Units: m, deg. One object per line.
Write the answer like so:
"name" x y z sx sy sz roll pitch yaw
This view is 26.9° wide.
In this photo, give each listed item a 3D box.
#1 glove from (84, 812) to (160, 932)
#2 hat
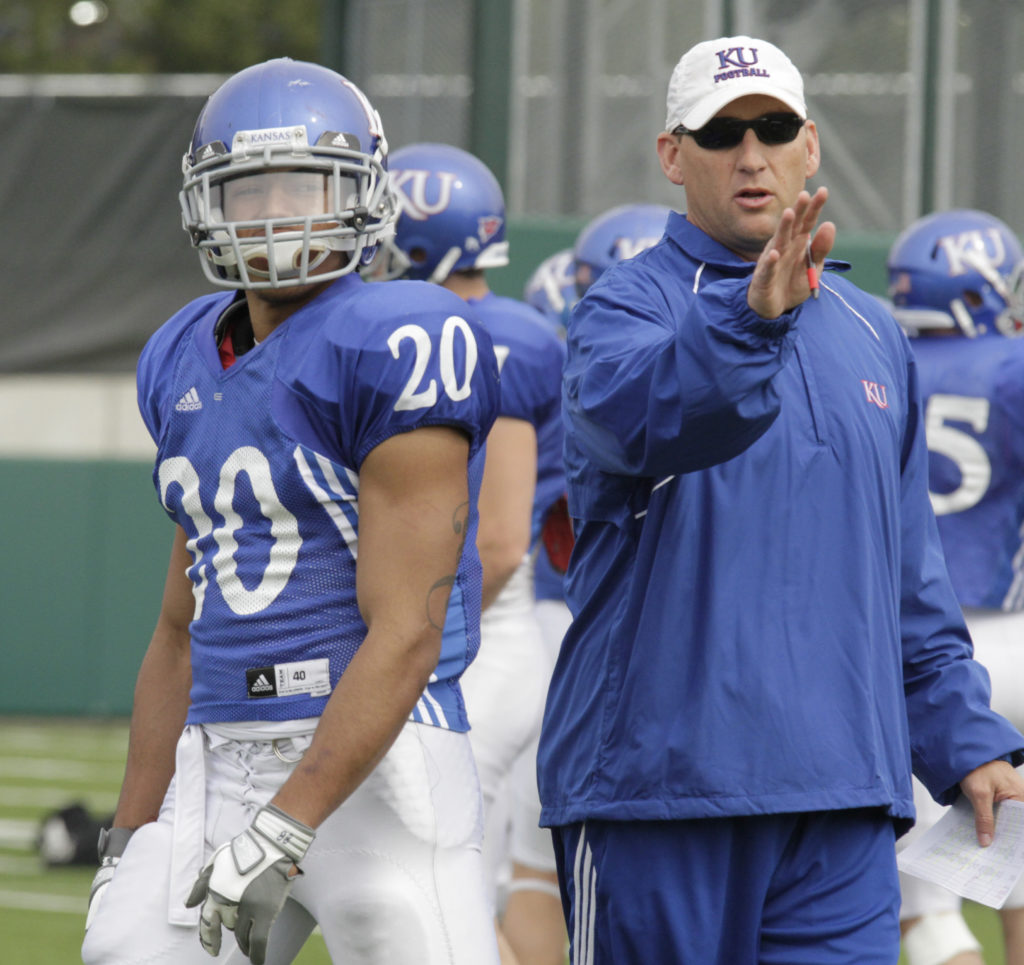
"glove" -0.721 0.680 3.832 0.072 0.195 0.133 14 5 32
"hat" 0.423 -0.741 4.023 0.228 0.191 0.343 -4 5 -1
